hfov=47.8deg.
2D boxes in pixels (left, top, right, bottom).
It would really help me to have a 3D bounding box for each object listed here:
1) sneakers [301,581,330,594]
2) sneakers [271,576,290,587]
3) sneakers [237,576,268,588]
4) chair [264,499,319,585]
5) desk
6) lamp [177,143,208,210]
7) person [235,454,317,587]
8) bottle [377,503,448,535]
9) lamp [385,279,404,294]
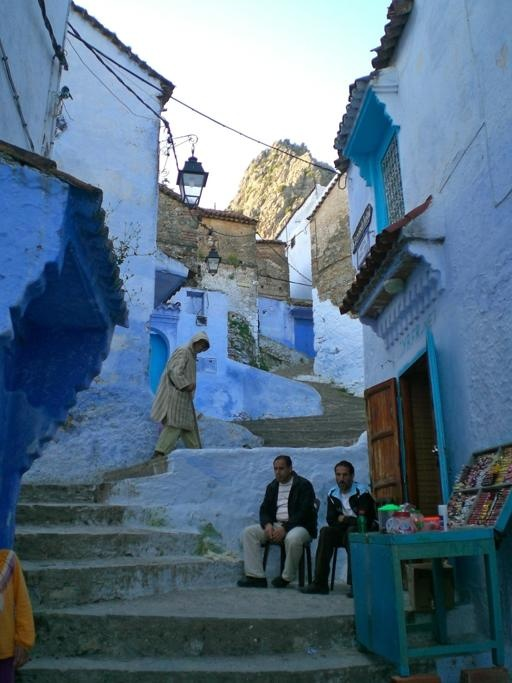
[{"bbox_3d":[0.442,1.816,4.289,0.222,0.092,0.077,3,-13,-3],"label":"sneakers"},{"bbox_3d":[0.189,1.884,4.545,0.134,0.123,0.074,0,0,-14],"label":"sneakers"},{"bbox_3d":[-0.031,1.876,4.533,0.225,0.077,0.361,2,-18,0],"label":"sneakers"},{"bbox_3d":[0.316,1.644,4.981,0.433,0.660,0.426,5,14,-3],"label":"chair"},{"bbox_3d":[0.938,1.286,3.283,0.751,0.817,0.991,-1,-17,-9],"label":"desk"},{"bbox_3d":[-1.117,-2.818,10.027,0.483,0.820,0.809,6,-19,-12],"label":"lamp"},{"bbox_3d":[0.186,1.458,4.810,0.576,1.059,0.649,-4,-19,18],"label":"person"},{"bbox_3d":[0.882,0.995,3.319,0.292,0.103,0.209,-4,-12,14],"label":"bottle"},{"bbox_3d":[1.429,-0.575,5.985,0.153,0.035,0.151,-13,-38,14],"label":"lamp"}]
